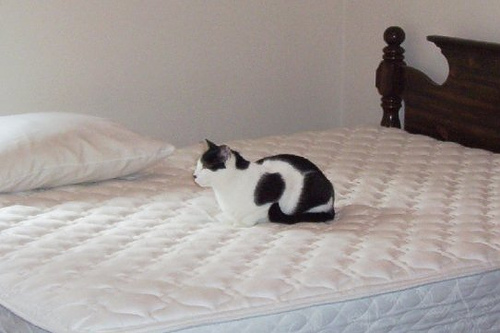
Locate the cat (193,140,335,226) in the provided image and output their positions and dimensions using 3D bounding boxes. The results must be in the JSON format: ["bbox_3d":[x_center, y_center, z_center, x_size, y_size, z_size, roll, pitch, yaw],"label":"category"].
[{"bbox_3d":[0.022,0.060,1.636,0.583,0.270,0.301,-2,7,-41],"label":"cat"}]
